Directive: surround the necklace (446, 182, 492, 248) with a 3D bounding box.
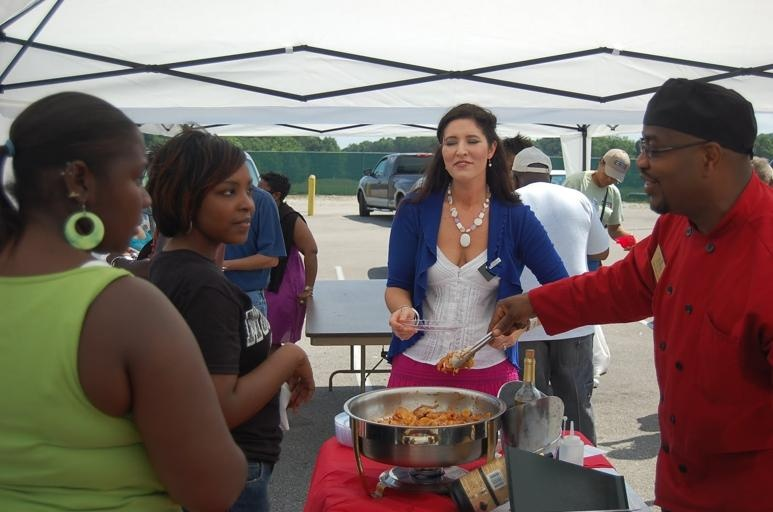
[{"bbox_3d":[0.436,-0.206,3.491,0.168,0.320,0.059,2,-18,8],"label":"necklace"}]

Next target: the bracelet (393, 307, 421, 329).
[{"bbox_3d":[0.107,0.307,3.386,0.142,0.089,0.219,1,8,2],"label":"bracelet"}]

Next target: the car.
[{"bbox_3d":[0.320,-2.224,20.209,1.687,1.654,3.762,-4,8,-17],"label":"car"}]

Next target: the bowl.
[{"bbox_3d":[0.152,0.728,2.665,0.647,0.280,0.472,0,8,-4],"label":"bowl"}]

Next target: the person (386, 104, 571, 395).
[{"bbox_3d":[0.462,-0.009,3.481,0.717,1.775,0.777,0,3,-1],"label":"person"}]

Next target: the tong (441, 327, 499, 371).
[{"bbox_3d":[0.336,0.475,3.012,0.130,0.115,0.384,5,-39,-47],"label":"tong"}]

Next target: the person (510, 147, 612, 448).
[{"bbox_3d":[1.267,0.278,4.972,0.868,2.499,0.917,0,3,-3],"label":"person"}]
